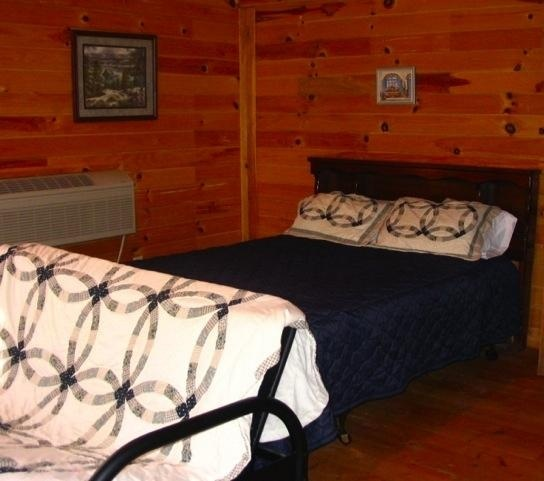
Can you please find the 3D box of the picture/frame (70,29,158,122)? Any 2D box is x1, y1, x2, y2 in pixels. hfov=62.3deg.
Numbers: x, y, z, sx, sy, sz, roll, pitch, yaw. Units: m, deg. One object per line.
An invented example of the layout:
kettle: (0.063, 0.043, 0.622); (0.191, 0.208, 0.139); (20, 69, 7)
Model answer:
picture/frame: (-1.232, -1.269, 3.420); (0.824, 0.741, 0.057); (-5, 10, -41)

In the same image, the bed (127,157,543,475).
bed: (0.604, 0.225, 2.796); (1.912, 1.130, 1.921); (7, 11, 42)
